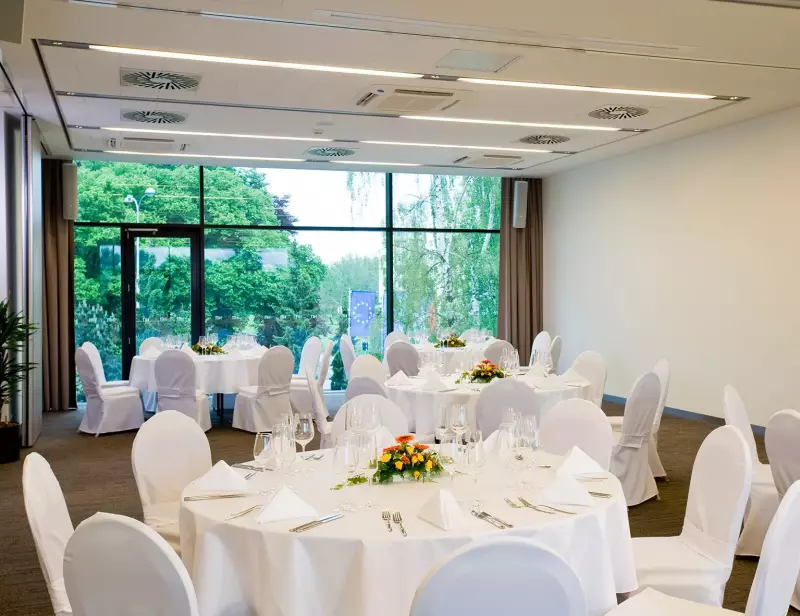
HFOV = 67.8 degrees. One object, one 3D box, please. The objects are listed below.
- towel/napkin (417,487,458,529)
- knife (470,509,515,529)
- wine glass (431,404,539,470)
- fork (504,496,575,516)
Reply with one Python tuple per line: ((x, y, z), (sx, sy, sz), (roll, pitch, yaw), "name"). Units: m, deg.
((0.158, 0.834, 2.461), (0.141, 0.136, 0.130), (0, -6, 37), "towel/napkin")
((0.389, 0.882, 2.498), (0.050, 0.019, 0.176), (-2, 0, -24), "knife")
((0.460, 0.621, 2.810), (0.478, 0.304, 0.268), (-3, 1, -10), "wine glass")
((0.626, 0.828, 2.615), (0.090, 0.051, 0.307), (-3, -1, -44), "fork")
